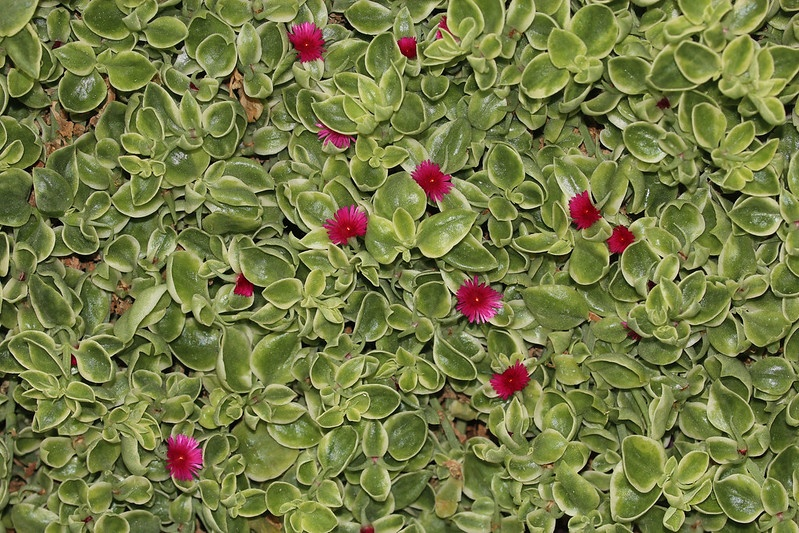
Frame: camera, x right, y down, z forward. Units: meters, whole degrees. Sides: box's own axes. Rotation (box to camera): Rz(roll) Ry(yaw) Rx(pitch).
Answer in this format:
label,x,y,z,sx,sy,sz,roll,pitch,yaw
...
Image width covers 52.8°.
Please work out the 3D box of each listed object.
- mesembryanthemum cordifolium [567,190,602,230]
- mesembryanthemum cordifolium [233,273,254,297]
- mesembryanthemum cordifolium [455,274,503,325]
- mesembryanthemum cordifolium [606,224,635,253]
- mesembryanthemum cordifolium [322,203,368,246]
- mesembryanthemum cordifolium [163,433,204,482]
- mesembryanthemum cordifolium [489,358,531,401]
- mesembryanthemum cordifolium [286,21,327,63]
label,x,y,z,sx,sy,sz,roll,pitch,yaw
mesembryanthemum cordifolium,0.475,-0.143,2.074,0.090,0.044,0.089,48,123,14
mesembryanthemum cordifolium,-0.413,0.050,2.118,0.050,0.024,0.059,13,86,0
mesembryanthemum cordifolium,0.195,0.078,2.086,0.129,0.055,0.130,-7,37,-23
mesembryanthemum cordifolium,0.566,-0.070,2.081,0.060,0.022,0.073,44,87,3
mesembryanthemum cordifolium,-0.139,-0.109,2.100,0.119,0.044,0.089,-29,86,-2
mesembryanthemum cordifolium,-0.575,0.511,2.139,0.102,0.031,0.126,-2,86,-1
mesembryanthemum cordifolium,0.297,0.293,2.128,0.108,0.131,0.050,6,55,-14
mesembryanthemum cordifolium,-0.249,-0.596,2.130,0.090,0.030,0.100,-9,86,-1
